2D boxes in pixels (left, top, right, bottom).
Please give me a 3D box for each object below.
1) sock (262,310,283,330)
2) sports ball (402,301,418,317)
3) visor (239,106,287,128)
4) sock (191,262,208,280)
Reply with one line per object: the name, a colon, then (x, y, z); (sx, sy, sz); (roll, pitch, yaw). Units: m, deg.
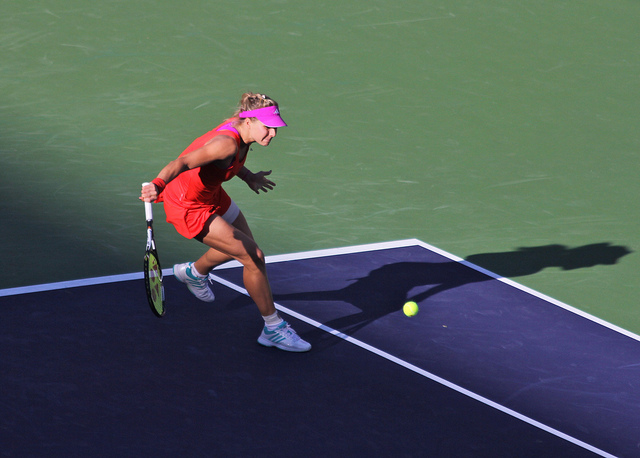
sock: (-0.434, 0.851, 7.525); (0.139, 0.194, 0.166); (-2, 75, -48)
sports ball: (0.905, 0.792, 8.124); (0.152, 0.144, 0.134); (4, 53, -41)
visor: (-0.485, -1.007, 7.300); (0.336, 0.112, 0.224); (7, 10, 21)
sock: (-1.177, 0.402, 7.877); (0.078, 0.179, 0.086); (2, 4, -33)
